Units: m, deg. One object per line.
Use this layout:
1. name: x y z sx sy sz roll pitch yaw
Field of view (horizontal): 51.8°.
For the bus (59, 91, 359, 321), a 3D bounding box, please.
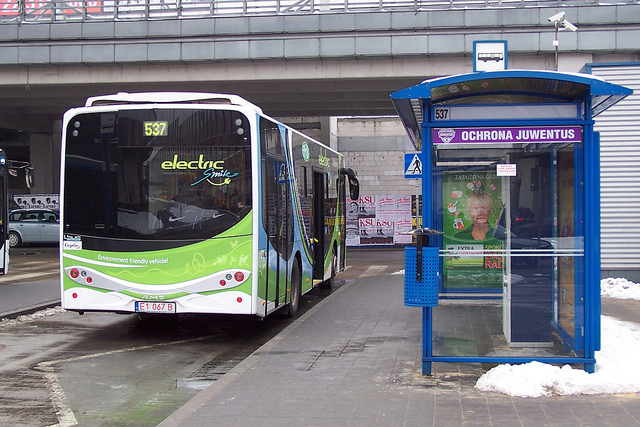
1. bus: -1.826 -0.012 17.186 4.307 4.516 11.702 0 2 9
